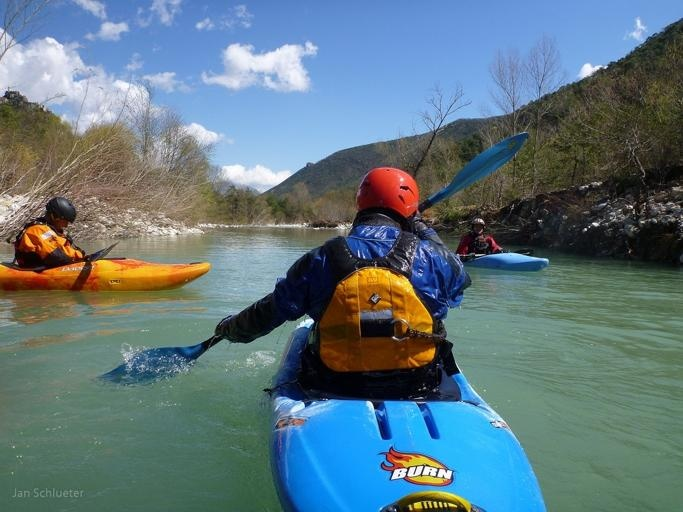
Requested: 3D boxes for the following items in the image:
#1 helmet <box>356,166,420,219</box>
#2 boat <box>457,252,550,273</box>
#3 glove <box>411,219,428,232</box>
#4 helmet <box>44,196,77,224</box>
[{"bbox_3d":[0.360,-0.417,3.417,0.385,0.374,0.469,4,13,28],"label":"helmet"},{"bbox_3d":[3.846,0.168,11.113,2.380,0.389,0.702,-2,-2,34],"label":"boat"},{"bbox_3d":[0.564,-0.226,3.428,0.105,0.058,0.132,4,16,7],"label":"glove"},{"bbox_3d":[-4.356,-0.704,7.427,0.352,0.404,0.402,-7,14,-33],"label":"helmet"}]
